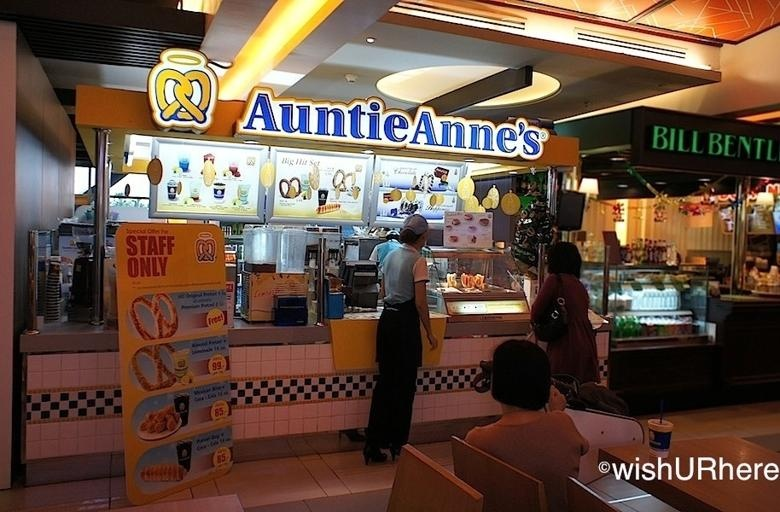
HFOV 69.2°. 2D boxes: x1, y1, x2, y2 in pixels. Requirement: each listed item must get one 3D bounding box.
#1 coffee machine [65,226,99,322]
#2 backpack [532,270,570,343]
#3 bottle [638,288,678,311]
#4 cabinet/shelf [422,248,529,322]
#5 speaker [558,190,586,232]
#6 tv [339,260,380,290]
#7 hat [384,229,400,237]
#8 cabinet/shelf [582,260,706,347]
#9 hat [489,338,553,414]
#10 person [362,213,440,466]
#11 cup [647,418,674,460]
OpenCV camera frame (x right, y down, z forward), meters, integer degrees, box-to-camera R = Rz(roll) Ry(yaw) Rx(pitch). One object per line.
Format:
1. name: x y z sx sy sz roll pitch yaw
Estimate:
1. coffee machine: -3.047 0.174 5.870 0.313 0.914 0.370 9 7 31
2. backpack: 1.676 0.556 5.906 0.345 0.726 0.146 2 4 12
3. bottle: 3.699 0.586 7.960 0.673 0.311 0.197 1 3 -14
4. cabinet/shelf: 0.931 0.277 7.202 1.361 0.798 1.341 1 11 -14
5. speaker: 2.436 -0.630 7.674 0.539 0.513 0.219 -3 5 -41
6. tv: -0.348 0.208 6.582 0.318 0.280 0.435 0 5 -1
7. hat: 0.024 -0.313 7.839 0.107 0.108 0.140 -1 -6 -41
8. cabinet/shelf: 3.561 0.628 8.266 1.728 1.023 0.906 0 3 -20
9. hat: 0.871 0.742 3.757 0.406 0.373 0.345 4 -2 12
10. person: 0.113 0.854 5.981 0.748 2.563 0.425 0 4 -5
11. cup: 1.861 1.261 3.887 0.181 0.190 0.179 9 -13 2
